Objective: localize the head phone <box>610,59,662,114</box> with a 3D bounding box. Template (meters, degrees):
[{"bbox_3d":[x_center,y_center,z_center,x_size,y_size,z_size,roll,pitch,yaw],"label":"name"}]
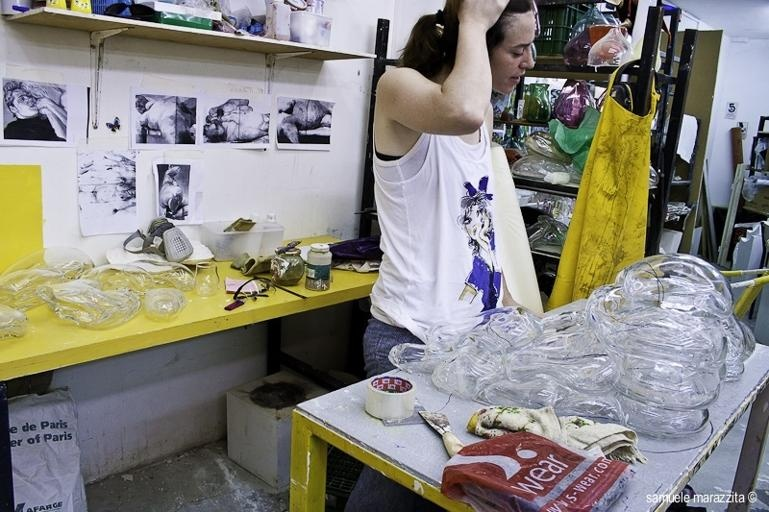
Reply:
[{"bbox_3d":[1.179,-0.806,2.580,0.216,0.251,0.229,7,19,20],"label":"head phone"}]

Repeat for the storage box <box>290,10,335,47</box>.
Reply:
[{"bbox_3d":[-0.400,-1.210,2.899,0.221,0.143,0.135,11,14,-36],"label":"storage box"}]

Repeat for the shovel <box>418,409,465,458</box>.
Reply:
[{"bbox_3d":[0.173,0.498,1.500,0.065,0.042,0.191,-3,24,-25],"label":"shovel"}]
